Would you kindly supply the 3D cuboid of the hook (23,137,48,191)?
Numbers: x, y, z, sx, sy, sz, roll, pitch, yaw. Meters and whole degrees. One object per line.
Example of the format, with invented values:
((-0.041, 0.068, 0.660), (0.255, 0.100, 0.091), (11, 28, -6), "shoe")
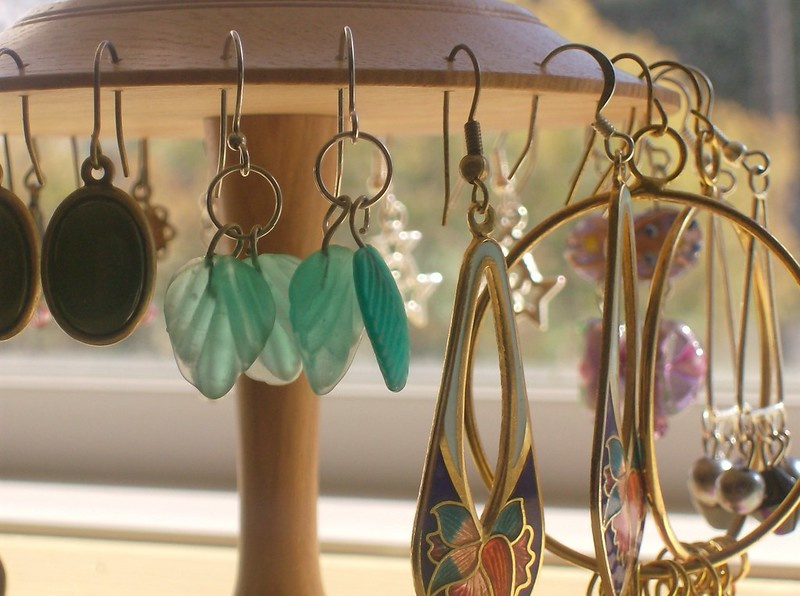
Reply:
((-0.303, -0.118, 1.060), (0.003, 0.048, 0.011), (-18, 14, -16), "hook")

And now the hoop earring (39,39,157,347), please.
((-0.230, -0.078, 1.002), (0.088, 0.258, 0.028), (3, -28, -14), "hoop earring")

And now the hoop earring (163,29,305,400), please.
((-0.119, -0.063, 0.962), (0.108, 0.272, 0.061), (-5, 14, -17), "hoop earring")

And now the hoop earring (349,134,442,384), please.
((-0.005, -0.032, 0.977), (0.052, 0.182, 0.022), (1, -18, -40), "hoop earring")

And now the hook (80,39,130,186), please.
((-0.228, -0.146, 0.998), (0.045, 0.109, 0.007), (21, 28, 36), "hook")

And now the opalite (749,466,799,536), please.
((0.342, 0.184, 1.162), (0.024, 0.055, 0.055), (9, 11, -31), "opalite")

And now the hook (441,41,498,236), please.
((0.051, -0.113, 0.973), (0.035, 0.151, 0.016), (-11, 24, -10), "hook")

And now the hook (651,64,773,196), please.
((0.321, -0.174, 1.308), (0.055, 0.173, 0.099), (-21, 7, 40), "hook")

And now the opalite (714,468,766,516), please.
((0.305, 0.172, 1.153), (0.040, 0.043, 0.049), (5, -41, 10), "opalite")
